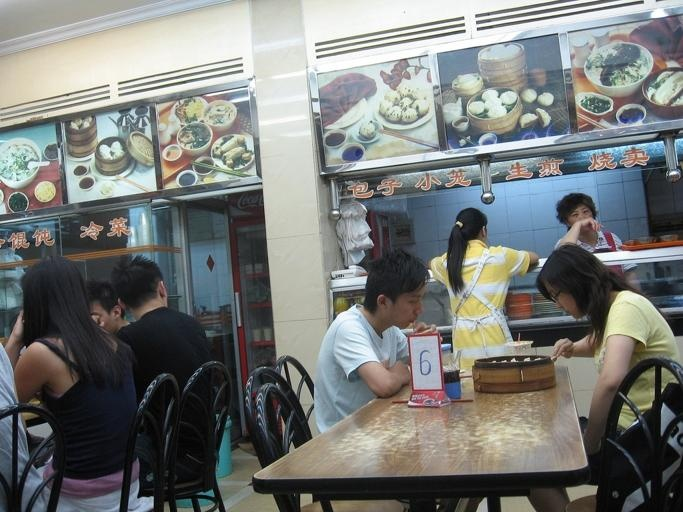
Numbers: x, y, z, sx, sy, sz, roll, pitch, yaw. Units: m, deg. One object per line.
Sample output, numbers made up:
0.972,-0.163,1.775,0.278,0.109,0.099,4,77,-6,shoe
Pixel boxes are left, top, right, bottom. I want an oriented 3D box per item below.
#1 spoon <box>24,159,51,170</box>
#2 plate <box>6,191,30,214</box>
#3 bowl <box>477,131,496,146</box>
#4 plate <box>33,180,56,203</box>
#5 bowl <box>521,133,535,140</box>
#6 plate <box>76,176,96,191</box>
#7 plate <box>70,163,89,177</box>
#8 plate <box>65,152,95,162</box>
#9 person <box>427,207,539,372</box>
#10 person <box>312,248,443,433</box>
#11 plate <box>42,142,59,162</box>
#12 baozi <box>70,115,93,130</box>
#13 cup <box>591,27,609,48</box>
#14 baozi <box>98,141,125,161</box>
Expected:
-2.735,-0.829,5.110,0.246,0.090,0.013,-6,3,13,spoon
-2.946,-0.488,5.165,0.186,0.195,0.051,1,-4,22,plate
1.107,-0.880,4.273,0.090,0.058,0.092,-3,1,0,bowl
-2.655,-0.575,5.078,0.184,0.192,0.084,2,-5,2,plate
1.389,-0.886,4.209,0.055,0.055,0.056,0,9,0,bowl
-2.249,-0.638,4.991,0.116,0.121,0.042,-4,0,13,plate
-2.304,-0.756,5.010,0.158,0.109,0.012,-6,3,13,plate
-2.315,-0.903,5.015,0.291,0.125,0.028,-6,3,18,plate
0.971,0.188,3.964,0.660,1.159,0.574,2,2,4,person
0.160,0.361,3.045,0.694,1.391,0.805,1,4,8,person
-2.603,-0.927,5.078,0.146,0.154,0.068,5,14,5,plate
-2.296,-1.170,5.016,0.135,0.138,0.051,-31,22,3,baozi
1.864,-1.568,4.081,0.114,0.127,0.115,-14,33,9,cup
-2.002,-0.912,4.941,0.188,0.148,0.077,-17,6,11,baozi
